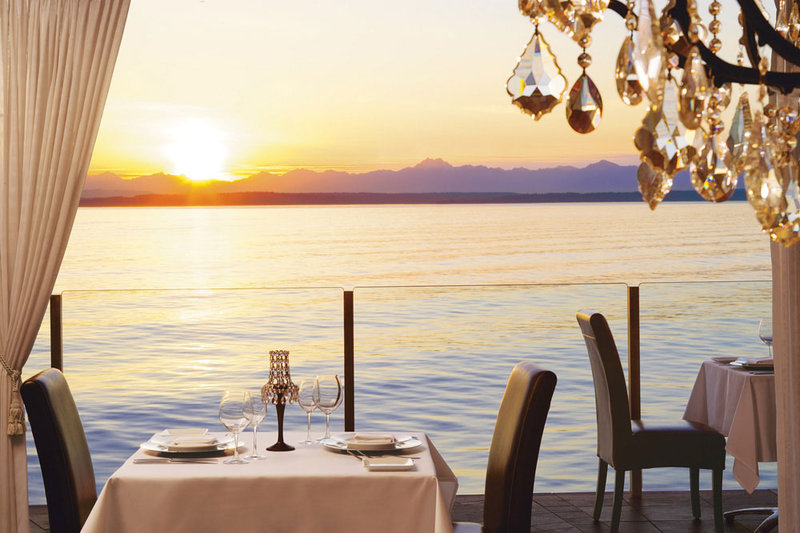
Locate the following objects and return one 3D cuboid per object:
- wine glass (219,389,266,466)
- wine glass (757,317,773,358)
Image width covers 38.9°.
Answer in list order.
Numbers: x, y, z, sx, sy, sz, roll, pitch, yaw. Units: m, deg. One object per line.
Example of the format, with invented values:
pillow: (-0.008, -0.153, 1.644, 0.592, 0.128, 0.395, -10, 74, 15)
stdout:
wine glass: (-1.022, 0.992, 7.060, 0.203, 0.445, 0.269, -3, 4, -24)
wine glass: (2.733, 0.484, 8.460, 0.089, 0.223, 0.229, 0, 3, 12)
